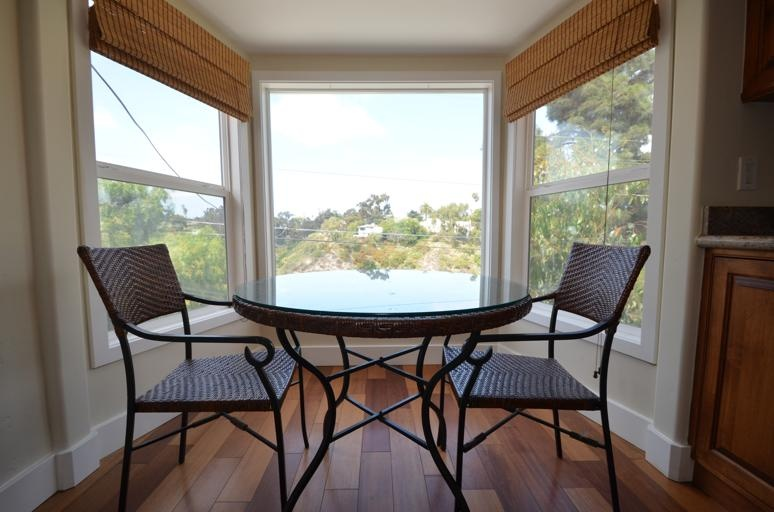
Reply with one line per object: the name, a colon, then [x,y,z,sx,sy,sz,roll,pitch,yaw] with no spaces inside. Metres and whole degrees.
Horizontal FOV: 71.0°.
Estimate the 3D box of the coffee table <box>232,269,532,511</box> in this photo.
coffee table: [-0.014,0.713,3.432,1.417,1.059,1.411,0,0,1]
